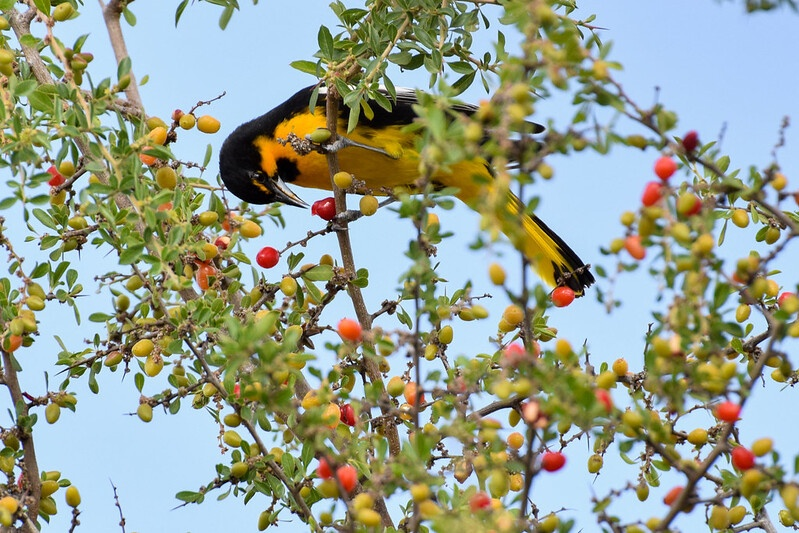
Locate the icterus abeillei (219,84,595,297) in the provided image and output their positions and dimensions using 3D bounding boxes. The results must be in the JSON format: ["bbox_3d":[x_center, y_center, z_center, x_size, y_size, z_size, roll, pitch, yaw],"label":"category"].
[{"bbox_3d":[0.083,-0.739,7.813,2.897,0.697,1.000,-12,-98,-33],"label":"icterus abeillei"}]
